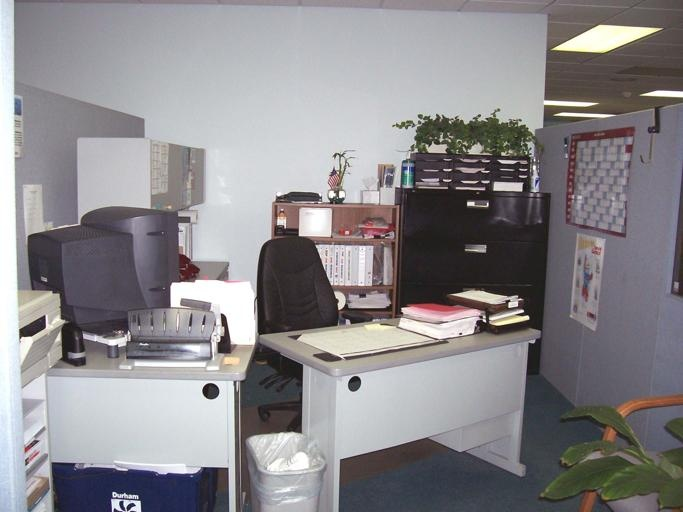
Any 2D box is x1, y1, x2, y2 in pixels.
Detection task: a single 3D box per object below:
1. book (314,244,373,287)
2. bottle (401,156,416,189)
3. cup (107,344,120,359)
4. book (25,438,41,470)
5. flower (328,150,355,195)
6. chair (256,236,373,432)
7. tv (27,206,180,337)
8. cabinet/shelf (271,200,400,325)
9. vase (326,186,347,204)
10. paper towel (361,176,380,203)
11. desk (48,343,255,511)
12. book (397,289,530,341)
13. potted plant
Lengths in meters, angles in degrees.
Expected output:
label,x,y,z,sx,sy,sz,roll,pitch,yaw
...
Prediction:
label,x,y,z,sx,sy,sz,roll,pitch,yaw
book,0.036,0.120,4.995,0.609,0.349,0.439,1,-13,2
bottle,0.597,-0.743,4.871,0.107,0.244,0.126,1,14,-1
cup,-1.191,0.490,2.874,0.068,0.078,0.068,5,12,-1
book,-1.482,0.938,2.632,0.032,0.093,0.092,14,34,18
flower,-0.024,-0.789,5.109,0.251,0.371,0.474,2,14,5
chair,-0.218,0.549,3.862,0.775,1.288,0.861,-1,3,0
tv,-1.363,0.067,3.231,0.743,0.656,0.764,5,12,16
cabinet/shelf,-0.047,0.071,4.615,1.119,1.072,0.361,0,-1,-4
vase,-0.050,-0.551,4.986,0.140,0.104,0.143,5,17,12
paper towel,0.264,-0.603,5.078,0.170,0.224,0.228,2,14,2
desk,-0.980,0.756,3.073,0.947,0.920,0.711,1,8,3
book,0.783,0.372,3.433,0.494,0.166,0.391,-6,8,-33
potted plant,1.184,-1.115,4.989,0.971,0.384,0.634,0,16,2
